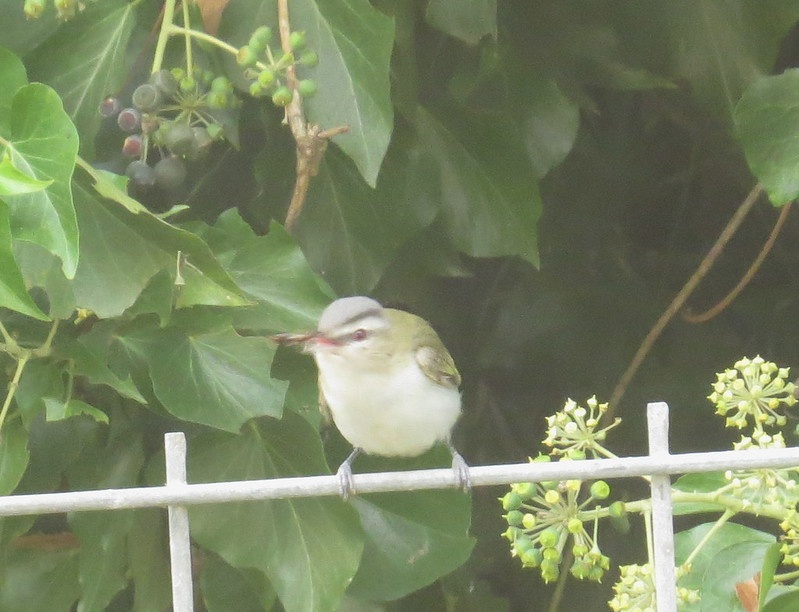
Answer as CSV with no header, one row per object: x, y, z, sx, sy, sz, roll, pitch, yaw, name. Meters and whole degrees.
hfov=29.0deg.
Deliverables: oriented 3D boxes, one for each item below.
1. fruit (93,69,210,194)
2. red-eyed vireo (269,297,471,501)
-0.463,-0.338,3.045,0.240,0.206,0.279,-3,-17,-15,fruit
-0.008,0.156,3.038,0.303,0.365,0.513,-10,0,17,red-eyed vireo
